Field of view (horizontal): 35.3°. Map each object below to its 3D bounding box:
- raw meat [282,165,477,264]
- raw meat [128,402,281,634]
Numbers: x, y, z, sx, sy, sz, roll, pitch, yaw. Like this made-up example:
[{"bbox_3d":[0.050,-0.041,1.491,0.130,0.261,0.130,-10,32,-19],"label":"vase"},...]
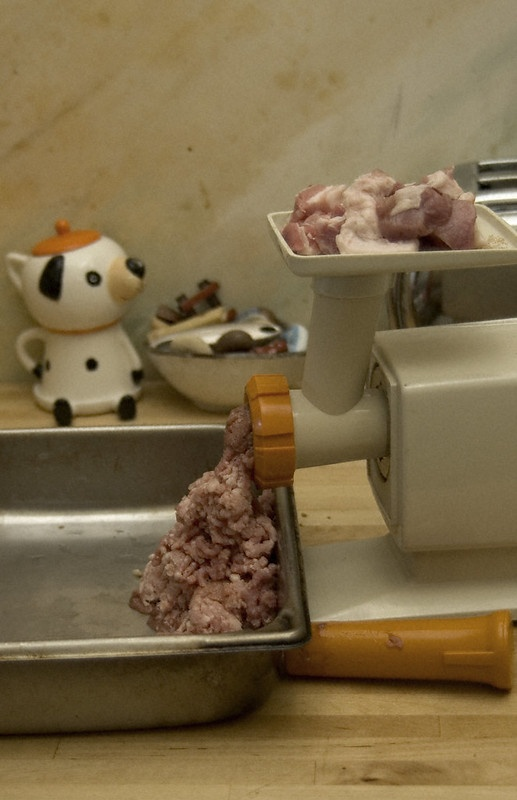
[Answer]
[{"bbox_3d":[0.086,-0.123,0.571,0.116,0.038,0.080,-2,11,3],"label":"raw meat"},{"bbox_3d":[-0.051,0.101,0.654,0.136,0.189,0.149,12,0,-12],"label":"raw meat"}]
